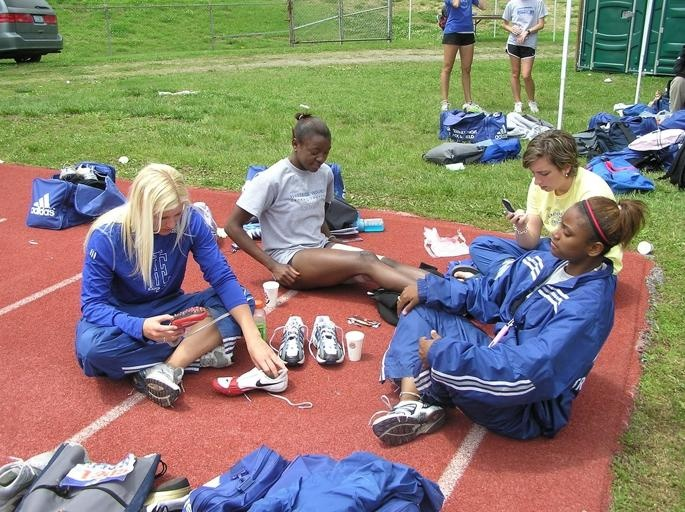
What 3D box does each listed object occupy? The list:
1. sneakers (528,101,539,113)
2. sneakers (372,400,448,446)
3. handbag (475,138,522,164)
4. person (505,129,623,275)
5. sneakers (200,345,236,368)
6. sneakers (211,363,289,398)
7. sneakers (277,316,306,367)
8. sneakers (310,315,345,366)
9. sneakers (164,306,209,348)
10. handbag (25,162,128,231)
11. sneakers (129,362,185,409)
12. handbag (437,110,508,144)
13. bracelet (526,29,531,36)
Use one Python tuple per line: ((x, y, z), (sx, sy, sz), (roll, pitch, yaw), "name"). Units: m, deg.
((3.519, -2.697, 10.899), (0.116, 0.148, 0.316), (-11, 52, 10), "sneakers")
((0.418, 1.066, 3.939), (0.549, 0.212, 0.241), (-3, 30, -28), "sneakers")
((2.327, -1.543, 8.751), (0.567, 0.209, 0.416), (-9, 36, -12), "handbag")
((1.859, -0.428, 4.962), (0.925, 1.143, 1.085), (-18, 18, -32), "person")
((-0.925, 0.738, 4.445), (0.328, 0.131, 0.112), (-3, 42, -6), "sneakers")
((-0.616, 0.872, 4.229), (0.589, 0.208, 0.203), (1, 9, -4), "sneakers")
((-0.382, 0.641, 4.628), (0.222, 0.196, 0.573), (2, 21, -4), "sneakers")
((-0.123, 0.637, 4.622), (0.254, 0.194, 0.540), (-3, 21, -11), "sneakers")
((-1.055, 0.462, 4.104), (0.263, 0.112, 0.249), (-25, 3, 4), "sneakers")
((-2.909, -0.700, 6.767), (0.817, 0.490, 1.024), (13, 28, 28), "handbag")
((-1.331, 0.867, 4.084), (0.411, 0.193, 0.162), (11, 60, 18), "sneakers")
((2.094, -2.061, 9.517), (0.848, 0.330, 0.646), (1, 18, 30), "handbag")
((3.276, -3.920, 10.469), (0.088, 0.114, 0.119), (0, 50, 1), "bracelet")
